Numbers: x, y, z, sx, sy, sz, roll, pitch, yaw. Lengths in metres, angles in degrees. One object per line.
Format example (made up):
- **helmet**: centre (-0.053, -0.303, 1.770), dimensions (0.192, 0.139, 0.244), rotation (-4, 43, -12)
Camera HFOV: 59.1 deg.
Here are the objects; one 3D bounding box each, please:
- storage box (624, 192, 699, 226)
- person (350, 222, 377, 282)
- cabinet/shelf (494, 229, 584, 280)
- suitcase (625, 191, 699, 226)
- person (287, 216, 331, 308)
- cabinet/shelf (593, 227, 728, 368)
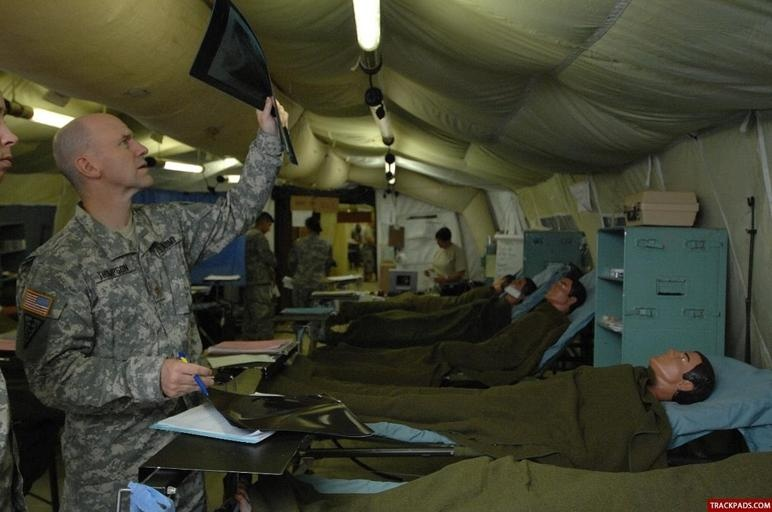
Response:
- **storage box**: centre (1.967, -0.327, 4.855), dimensions (0.302, 0.170, 0.354), rotation (0, 0, 11)
- **person**: centre (-0.447, -0.053, 12.731), dimensions (0.615, 1.049, 0.268), rotation (0, -4, -19)
- **cabinet/shelf**: centre (1.766, -0.031, 7.656), dimensions (0.842, 0.510, 0.435), rotation (0, 1, -23)
- **suitcase**: centre (1.982, -0.329, 4.986), dimensions (0.463, 0.214, 0.483), rotation (1, 0, 7)
- **person**: centre (-0.973, 0.239, 8.580), dimensions (0.519, 1.448, 0.479), rotation (-1, 19, -16)
- **cabinet/shelf**: centre (2.217, 0.305, 5.528), dimensions (1.011, 1.693, 1.072), rotation (1, 0, 13)
